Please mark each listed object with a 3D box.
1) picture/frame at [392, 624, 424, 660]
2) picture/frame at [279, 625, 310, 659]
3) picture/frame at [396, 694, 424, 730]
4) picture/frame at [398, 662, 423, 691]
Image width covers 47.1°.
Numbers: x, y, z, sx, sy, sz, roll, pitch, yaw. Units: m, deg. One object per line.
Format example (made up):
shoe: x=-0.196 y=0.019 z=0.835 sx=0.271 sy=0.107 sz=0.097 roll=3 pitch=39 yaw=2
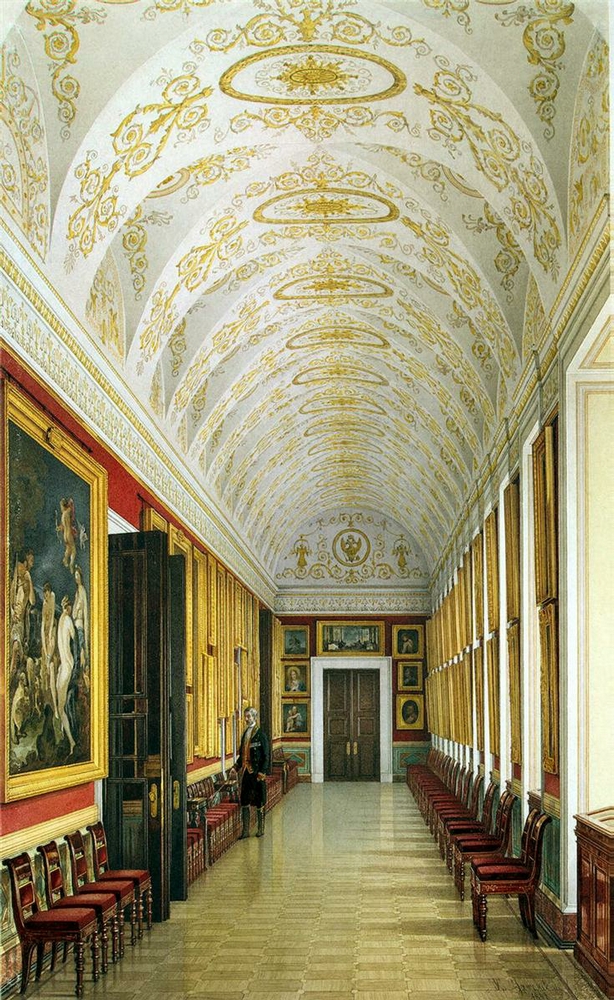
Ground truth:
picture/frame: x=4.152 y=5.891 z=28.913 sx=1.033 sy=1.521 sz=0.150 roll=0 pitch=-6 yaw=0
picture/frame: x=-0.534 y=5.919 z=29.206 sx=1.042 sy=1.498 sz=0.100 roll=0 pitch=-9 yaw=1
picture/frame: x=4.144 y=8.634 z=28.453 sx=1.026 sy=1.757 sz=0.120 roll=0 pitch=-12 yaw=2
picture/frame: x=4.176 y=7.236 z=28.680 sx=0.832 sy=1.275 sz=0.118 roll=0 pitch=-9 yaw=1
